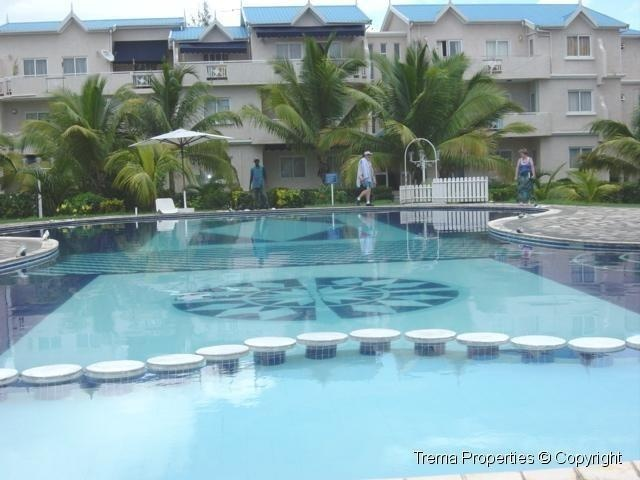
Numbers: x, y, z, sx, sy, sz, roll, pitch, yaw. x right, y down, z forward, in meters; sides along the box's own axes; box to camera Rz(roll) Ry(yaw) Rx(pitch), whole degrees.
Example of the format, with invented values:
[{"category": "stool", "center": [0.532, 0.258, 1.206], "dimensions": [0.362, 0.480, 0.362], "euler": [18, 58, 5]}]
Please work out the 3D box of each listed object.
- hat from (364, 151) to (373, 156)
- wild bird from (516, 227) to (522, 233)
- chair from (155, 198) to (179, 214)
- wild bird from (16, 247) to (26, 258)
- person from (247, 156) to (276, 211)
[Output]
[{"category": "hat", "center": [1.674, -3.098, 24.025], "dimensions": [0.355, 0.204, 0.293], "euler": [-10, 4, 11]}, {"category": "wild bird", "center": [3.888, -0.183, 13.234], "dimensions": [0.070, 0.058, 0.093], "euler": [-1, 12, 0]}, {"category": "chair", "center": [-5.451, -1.191, 23.831], "dimensions": [0.595, 0.471, 0.620], "euler": [-1, 0, -23]}, {"category": "wild bird", "center": [-5.325, 0.225, 12.036], "dimensions": [0.101, 0.142, 0.169], "euler": [1, 4, -35]}, {"category": "person", "center": [-2.356, -2.155, 26.262], "dimensions": [0.680, 1.953, 1.292], "euler": [-2, 8, -5]}]
